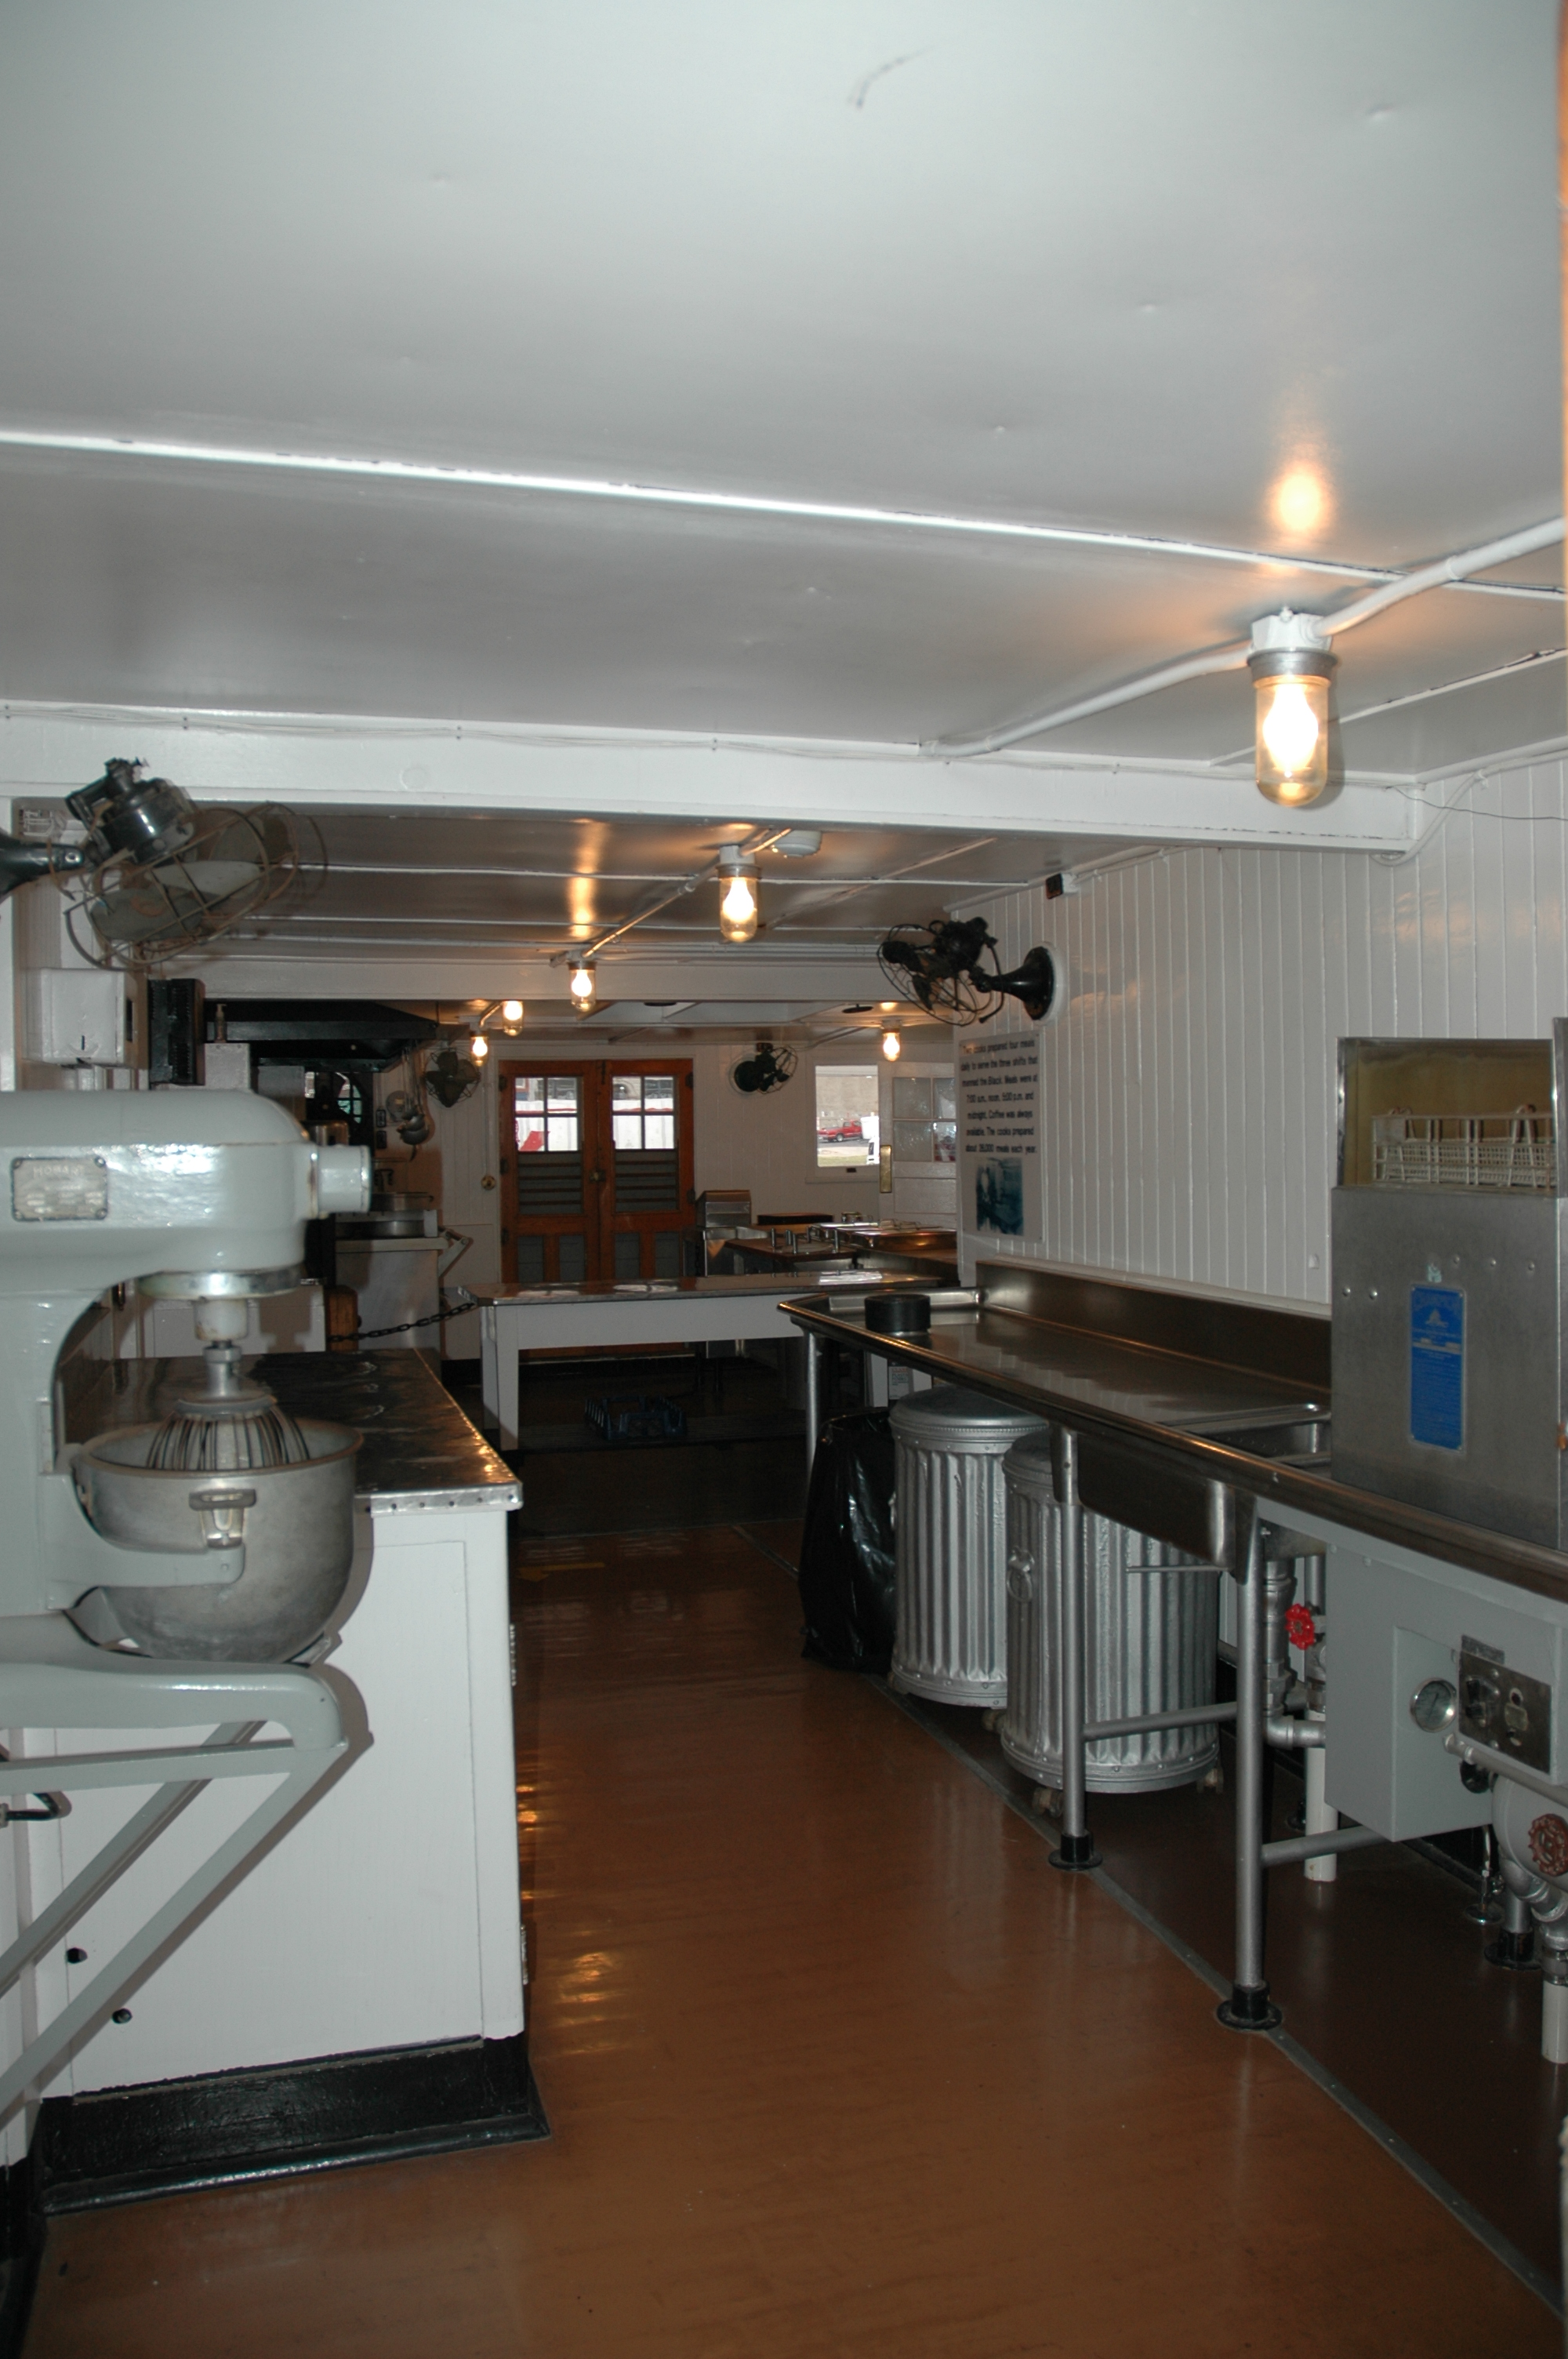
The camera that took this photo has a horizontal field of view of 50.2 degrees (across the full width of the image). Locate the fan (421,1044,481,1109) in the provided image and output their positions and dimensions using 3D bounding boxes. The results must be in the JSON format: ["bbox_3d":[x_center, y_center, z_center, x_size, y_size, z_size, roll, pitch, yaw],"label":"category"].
[{"bbox_3d":[-2.340,-0.742,11.703,0.351,0.422,0.431,2,2,1],"label":"fan"}]

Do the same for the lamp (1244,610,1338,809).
[{"bbox_3d":[0.767,-0.722,2.550,0.123,0.248,0.230,-1,0,17],"label":"lamp"}]

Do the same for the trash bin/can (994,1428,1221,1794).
[{"bbox_3d":[0.719,0.990,3.728,0.469,0.734,0.395,-1,0,8],"label":"trash bin/can"}]

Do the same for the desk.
[{"bbox_3d":[-0.584,0.813,7.567,1.505,0.778,1.156,-1,0,-8],"label":"desk"}]

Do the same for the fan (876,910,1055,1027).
[{"bbox_3d":[0.592,-0.693,5.626,0.513,0.427,0.191,2,1,-22],"label":"fan"}]
